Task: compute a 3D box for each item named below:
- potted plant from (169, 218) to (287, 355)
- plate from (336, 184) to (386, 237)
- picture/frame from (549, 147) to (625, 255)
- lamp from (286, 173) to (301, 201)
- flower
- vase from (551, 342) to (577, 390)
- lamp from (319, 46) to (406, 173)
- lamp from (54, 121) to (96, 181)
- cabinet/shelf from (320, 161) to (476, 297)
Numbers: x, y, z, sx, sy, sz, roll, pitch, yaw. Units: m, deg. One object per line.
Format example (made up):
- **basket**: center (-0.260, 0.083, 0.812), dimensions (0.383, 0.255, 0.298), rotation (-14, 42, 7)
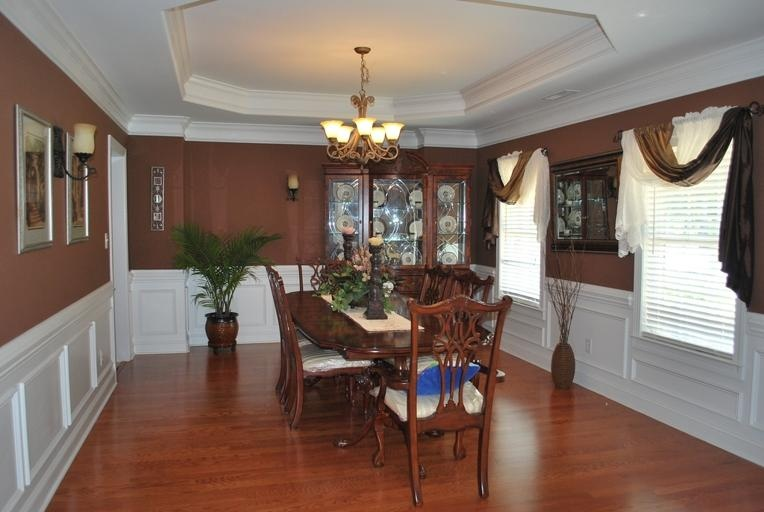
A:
- **potted plant**: center (-2.117, 0.499, 7.231), dimensions (1.725, 1.818, 1.484), rotation (1, -5, -5)
- **plate**: center (-0.268, -0.604, 6.942), dimensions (0.675, 0.716, 0.200), rotation (-1, 12, -4)
- **picture/frame**: center (2.229, -0.592, 5.475), dimensions (0.134, 1.135, 1.189), rotation (0, 1, -17)
- **lamp**: center (-1.221, -0.942, 7.108), dimensions (0.189, 0.378, 0.209), rotation (-3, 13, -15)
- **flower**: center (-0.238, 0.233, 4.914), dimensions (0.637, 0.873, 0.658), rotation (2, 11, 6)
- **vase**: center (1.944, 1.193, 5.486), dimensions (0.233, 0.496, 0.173), rotation (4, 13, 15)
- **lamp**: center (-0.161, -1.487, 5.538), dimensions (1.068, 1.520, 1.047), rotation (-1, 5, 3)
- **lamp**: center (-2.538, -0.855, 4.268), dimensions (0.289, 0.485, 0.726), rotation (-5, 13, -24)
- **cabinet/shelf**: center (0.199, -0.290, 7.108), dimensions (1.971, 2.208, 0.611), rotation (1, -20, 1)
